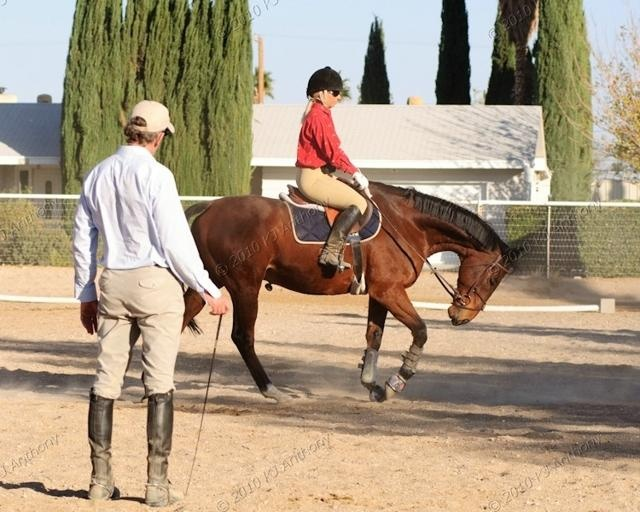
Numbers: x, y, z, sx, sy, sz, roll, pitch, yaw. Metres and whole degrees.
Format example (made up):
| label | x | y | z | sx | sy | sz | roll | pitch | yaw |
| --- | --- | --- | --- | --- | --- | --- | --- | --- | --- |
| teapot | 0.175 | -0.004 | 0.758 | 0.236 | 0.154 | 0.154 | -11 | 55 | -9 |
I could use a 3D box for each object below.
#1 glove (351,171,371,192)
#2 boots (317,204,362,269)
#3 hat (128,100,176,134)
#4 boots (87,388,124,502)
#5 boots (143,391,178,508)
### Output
| label | x | y | z | sx | sy | sz | roll | pitch | yaw |
| --- | --- | --- | --- | --- | --- | --- | --- | --- | --- |
| glove | 0.562 | -1.069 | 17.935 | 0.214 | 0.294 | 0.248 | 4 | 10 | 11 |
| boots | 0.263 | -0.255 | 17.687 | 0.289 | 0.874 | 0.553 | 9 | 12 | 37 |
| hat | -2.042 | -1.688 | 15.293 | 0.364 | 0.264 | 0.493 | 17 | 22 | 21 |
| boots | -2.627 | 2.301 | 15.160 | 0.374 | 1.300 | 0.325 | 0 | 10 | -9 |
| boots | -1.944 | 2.352 | 15.146 | 0.355 | 1.380 | 0.360 | 1 | 9 | -7 |
